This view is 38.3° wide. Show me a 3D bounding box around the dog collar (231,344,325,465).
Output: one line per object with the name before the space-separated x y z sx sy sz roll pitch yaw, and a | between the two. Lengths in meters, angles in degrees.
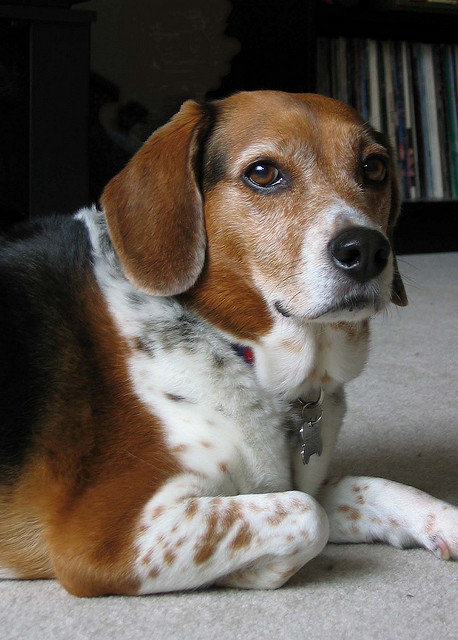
dog collar | 0.078 0.146 1.141 0.140 0.216 0.057 -16 -11 43
